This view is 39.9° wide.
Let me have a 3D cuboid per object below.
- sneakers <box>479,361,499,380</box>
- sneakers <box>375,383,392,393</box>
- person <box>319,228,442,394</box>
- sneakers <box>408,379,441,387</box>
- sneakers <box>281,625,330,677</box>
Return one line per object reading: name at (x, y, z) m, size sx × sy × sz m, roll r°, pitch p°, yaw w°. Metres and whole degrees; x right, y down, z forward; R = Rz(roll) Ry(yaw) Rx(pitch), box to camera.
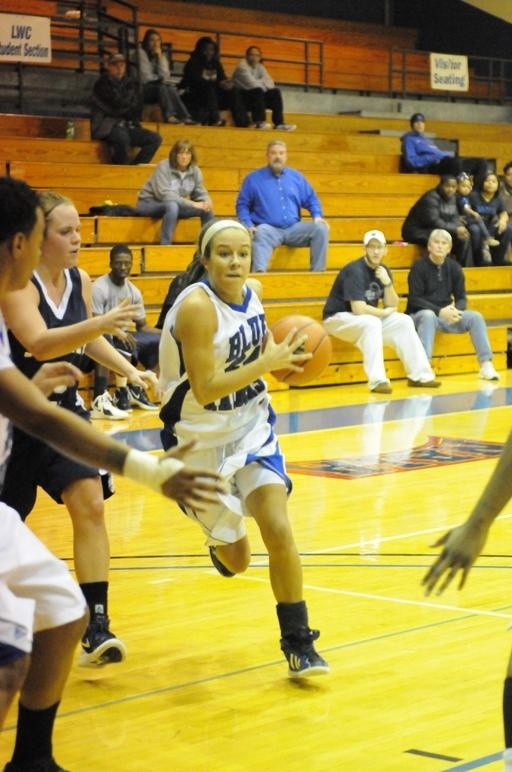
sneakers at (2.885, -0.183, 8.734) m, size 0.215 × 0.229 × 0.389 m, roll 0°, pitch 3°, yaw 12°
sneakers at (1.421, 0.016, 7.888) m, size 0.177 × 0.069 × 0.105 m, roll -2°, pitch -15°, yaw 13°
person at (1.420, -0.742, 8.252) m, size 1.053 × 1.600 × 0.797 m, roll -3°, pitch 4°, yaw -31°
sneakers at (1.970, -0.049, 8.297) m, size 0.356 × 0.130 × 0.115 m, roll 0°, pitch 5°, yaw 17°
sneakers at (0.128, 0.736, 1.936) m, size 0.072 × 0.137 × 0.206 m, roll 1°, pitch -16°, yaw -33°
